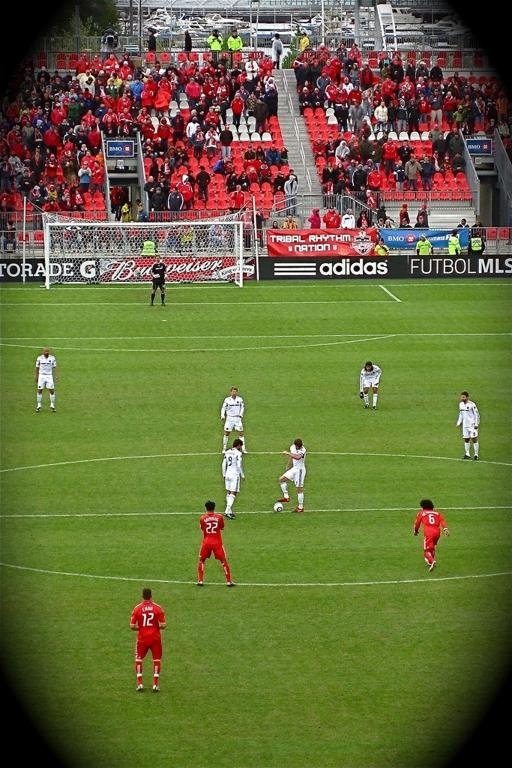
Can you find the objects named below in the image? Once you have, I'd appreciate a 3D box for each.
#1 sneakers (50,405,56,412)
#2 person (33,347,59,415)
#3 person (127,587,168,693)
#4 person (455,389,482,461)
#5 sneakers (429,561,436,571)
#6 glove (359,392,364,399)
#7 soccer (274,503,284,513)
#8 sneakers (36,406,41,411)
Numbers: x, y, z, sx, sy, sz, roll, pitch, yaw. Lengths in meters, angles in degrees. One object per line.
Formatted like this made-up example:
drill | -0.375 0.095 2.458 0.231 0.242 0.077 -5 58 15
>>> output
sneakers | -4.798 0.576 35.743 0.111 0.189 0.376 0 1 -12
person | -4.908 -0.098 35.188 0.523 1.760 1.742 -5 13 -9
person | -1.300 2.995 18.242 0.341 1.423 0.393 -2 21 -9
person | 4.293 0.764 30.763 0.409 1.661 1.791 -1 14 8
sneakers | 2.661 2.739 22.954 0.070 0.115 0.231 3 29 10
glove | 2.534 0.284 36.665 0.081 0.117 0.040 3 36 17
soccer | 0.383 2.145 26.362 0.146 0.203 0.124 10 5 10
sneakers | -5.141 0.575 35.732 0.085 0.144 0.294 0 -3 -1
